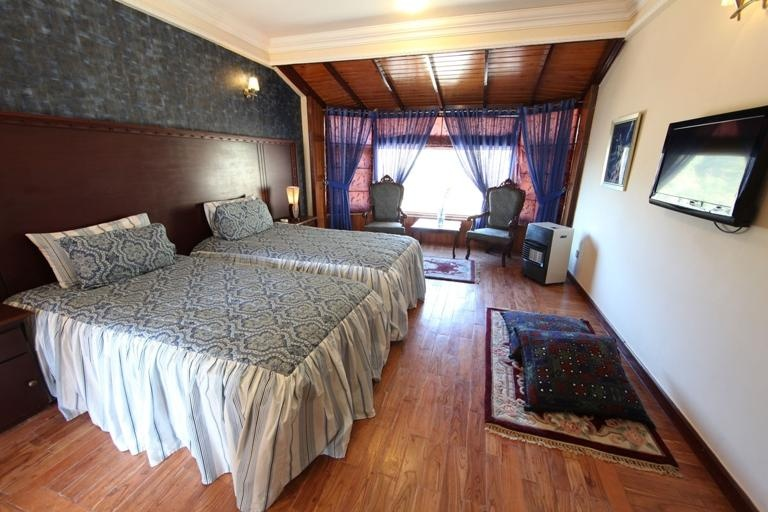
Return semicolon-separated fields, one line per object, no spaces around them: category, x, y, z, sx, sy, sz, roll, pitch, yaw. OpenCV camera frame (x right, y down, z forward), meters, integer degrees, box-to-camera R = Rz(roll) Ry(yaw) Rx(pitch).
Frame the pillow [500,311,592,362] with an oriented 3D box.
pillow;1.599;0.799;4.429;0.543;0.154;0.566;-1;21;18

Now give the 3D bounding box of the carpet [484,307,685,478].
carpet;1.780;1.149;4.242;1.569;0.089;2.128;7;22;10

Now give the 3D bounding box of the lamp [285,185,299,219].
lamp;-1.290;-0.735;6.301;0.143;0.485;0.122;-8;20;-28

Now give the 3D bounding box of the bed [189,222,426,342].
bed;-0.806;0.300;4.922;2.178;0.674;1.192;8;24;14

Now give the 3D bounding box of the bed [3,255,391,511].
bed;-1.360;0.946;3.688;2.546;1.291;1.334;6;18;15

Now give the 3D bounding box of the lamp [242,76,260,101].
lamp;-1.610;-2.088;5.529;0.152;0.270;0.334;5;18;10

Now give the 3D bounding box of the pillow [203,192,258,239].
pillow;-1.850;-0.476;5.013;0.500;0.490;0.146;-4;-5;-43
